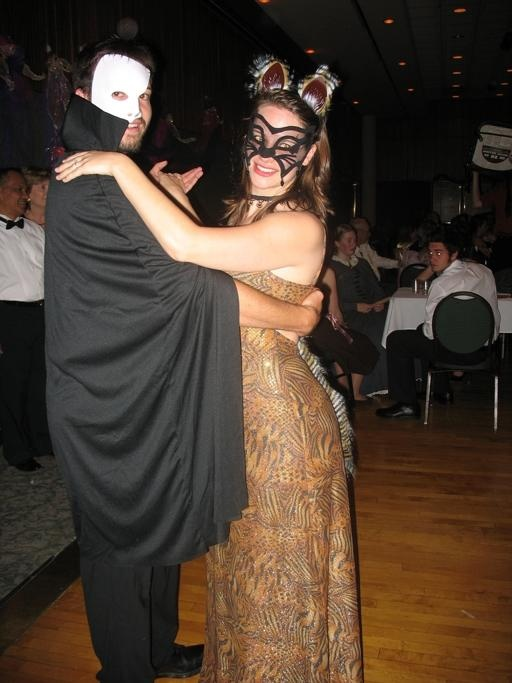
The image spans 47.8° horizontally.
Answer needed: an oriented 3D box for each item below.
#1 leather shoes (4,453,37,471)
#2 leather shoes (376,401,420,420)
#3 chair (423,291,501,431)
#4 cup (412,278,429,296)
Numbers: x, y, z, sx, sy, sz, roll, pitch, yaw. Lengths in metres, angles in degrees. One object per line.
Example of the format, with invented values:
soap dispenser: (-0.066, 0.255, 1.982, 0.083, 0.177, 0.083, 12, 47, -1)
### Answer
leather shoes: (-1.409, 0.745, 3.493, 0.150, 0.117, 0.107, -16, 2, -7)
leather shoes: (1.121, 0.542, 4.576, 0.285, 0.110, 0.133, 4, -6, 3)
chair: (1.705, 0.064, 4.684, 0.556, 1.012, 1.352, 4, 10, 22)
cup: (1.435, -0.463, 5.056, 0.157, 0.162, 0.158, 0, -5, 0)
